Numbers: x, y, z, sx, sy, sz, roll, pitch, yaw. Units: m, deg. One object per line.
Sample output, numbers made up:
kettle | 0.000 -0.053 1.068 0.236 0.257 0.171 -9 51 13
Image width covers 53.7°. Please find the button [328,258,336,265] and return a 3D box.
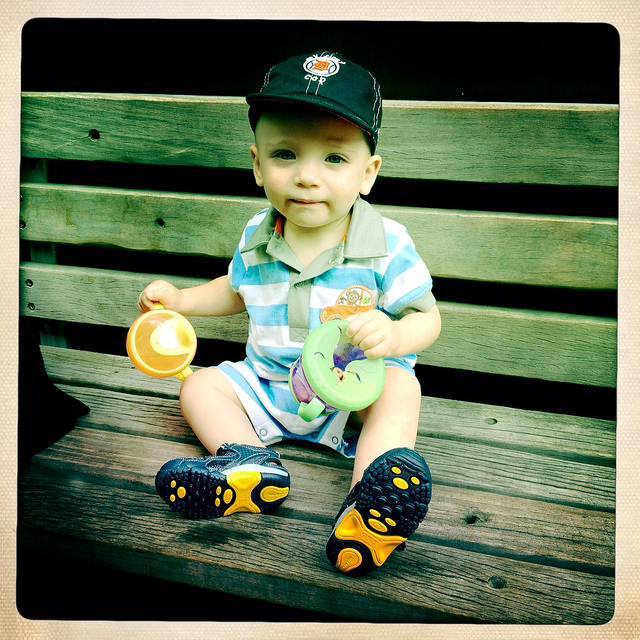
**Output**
button | 0.022 -0.121 1.306 0.012 0.009 0.007 9 6 -7

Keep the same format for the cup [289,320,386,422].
cup | 0.035 0.108 1.210 0.183 0.222 0.228 10 5 -1

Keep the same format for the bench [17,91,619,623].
bench | 0.018 0.062 1.365 1.309 0.704 0.635 4 20 7

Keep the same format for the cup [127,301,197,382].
cup | -0.329 0.045 1.289 0.140 0.138 0.060 -7 -13 -35

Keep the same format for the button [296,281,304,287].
button | -0.043 -0.074 1.318 0.016 0.008 0.003 9 6 2

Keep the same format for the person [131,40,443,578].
person | -0.006 -0.128 1.364 0.714 0.721 0.716 11 6 12

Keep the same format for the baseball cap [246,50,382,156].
baseball cap | -0.007 -0.462 1.285 0.283 0.146 0.328 9 3 -4

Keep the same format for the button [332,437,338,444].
button | 0.031 0.254 1.334 0.013 0.011 0.003 -3 1 25

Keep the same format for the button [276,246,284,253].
button | -0.087 -0.149 1.341 0.014 0.011 0.003 3 -33 -5
